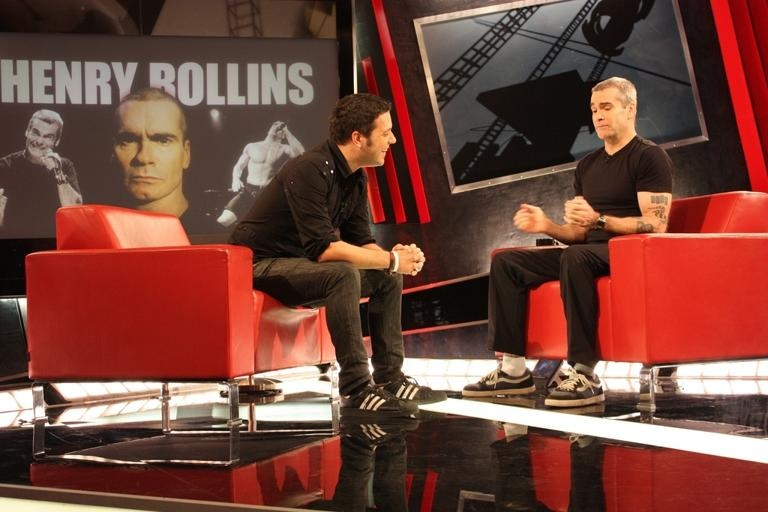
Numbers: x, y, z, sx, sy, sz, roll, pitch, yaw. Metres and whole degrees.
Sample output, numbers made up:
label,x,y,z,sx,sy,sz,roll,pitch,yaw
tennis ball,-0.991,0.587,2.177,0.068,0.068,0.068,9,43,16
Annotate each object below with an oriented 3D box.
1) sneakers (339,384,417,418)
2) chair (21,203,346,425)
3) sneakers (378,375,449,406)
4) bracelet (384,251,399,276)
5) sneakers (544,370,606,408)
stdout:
label,x,y,z,sx,sy,sz,roll,pitch,yaw
sneakers,-0.007,0.689,3.385,0.401,0.139,0.146,1,-2,-9
chair,-0.898,0.232,3.556,1.010,0.837,1.277,0,0,14
sneakers,0.141,0.669,3.574,0.393,0.126,0.131,4,-1,-2
bracelet,0.046,0.031,3.458,0.077,0.089,0.107,3,-21,-6
sneakers,0.961,0.681,3.622,0.378,0.145,0.145,2,-7,-39
